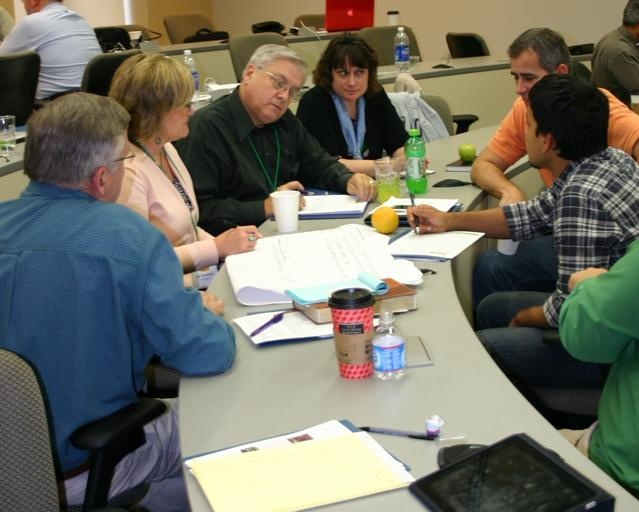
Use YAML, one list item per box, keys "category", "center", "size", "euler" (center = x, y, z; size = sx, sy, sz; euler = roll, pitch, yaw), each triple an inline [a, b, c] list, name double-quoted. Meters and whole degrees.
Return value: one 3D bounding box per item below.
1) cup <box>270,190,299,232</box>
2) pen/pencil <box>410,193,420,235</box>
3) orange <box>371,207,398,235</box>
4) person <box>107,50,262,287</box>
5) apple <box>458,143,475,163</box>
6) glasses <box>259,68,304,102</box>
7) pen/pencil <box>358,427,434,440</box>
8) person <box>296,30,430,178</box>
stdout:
- category: "cup"
  center: [-0.119, -0.179, 1.896]
  size: [0.130, 0.143, 0.136]
  euler: [-2, 12, 0]
- category: "pen/pencil"
  center: [0.353, -0.156, 1.882]
  size: [0.020, 0.188, 0.021]
  euler: [-9, -1, 29]
- category: "orange"
  center: [0.236, -0.131, 1.862]
  size: [0.098, 0.104, 0.091]
  euler: [-1, 10, -29]
- category: "person"
  center: [-0.569, -0.219, 1.940]
  size: [0.505, 1.022, 0.538]
  euler: [30, 32, 30]
- category: "apple"
  center: [0.779, -0.551, 2.722]
  size: [0.093, 0.109, 0.097]
  euler: [-5, 5, 0]
- category: "glasses"
  center: [-0.196, -0.791, 2.309]
  size: [0.117, 0.041, 0.119]
  euler: [13, 22, -45]
- category: "pen/pencil"
  center: [0.130, 0.303, 0.862]
  size: [0.094, 0.010, 0.016]
  euler: [2, 21, 10]
- category: "person"
  center: [0.217, -0.692, 3.056]
  size: [0.668, 1.128, 0.644]
  euler: [15, 27, 42]
